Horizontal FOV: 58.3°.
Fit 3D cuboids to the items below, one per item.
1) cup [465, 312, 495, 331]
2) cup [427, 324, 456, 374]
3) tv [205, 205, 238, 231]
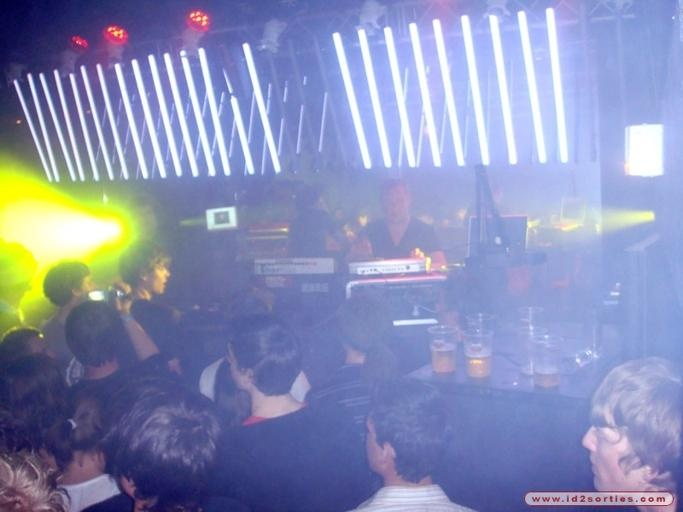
[{"bbox_3d":[0.715,0.334,3.145,0.122,0.136,0.125,1,-2,0],"label":"cup"},{"bbox_3d":[0.512,0.478,3.213,0.193,0.306,0.213,-3,0,12],"label":"cup"},{"bbox_3d":[-1.072,-0.330,5.421,0.321,0.187,0.232,-3,7,6],"label":"tv"}]
